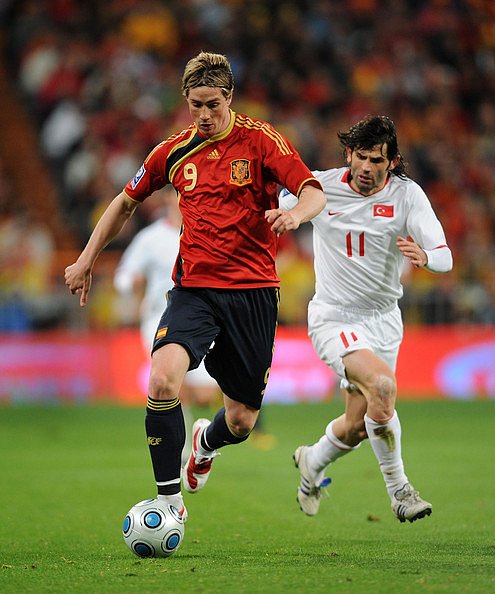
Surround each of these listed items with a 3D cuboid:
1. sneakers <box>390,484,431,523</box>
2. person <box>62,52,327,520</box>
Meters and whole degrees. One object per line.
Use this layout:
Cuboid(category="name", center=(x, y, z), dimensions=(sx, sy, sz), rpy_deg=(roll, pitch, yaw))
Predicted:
Cuboid(category="sneakers", center=(0.737, 0.955, 3.476), dimensions=(0.107, 0.131, 0.262), rpy_deg=(-25, -6, -21))
Cuboid(category="person", center=(-0.230, 0.039, 3.511), dimensions=(0.896, 2.306, 1.209), rpy_deg=(-2, 10, -22))
